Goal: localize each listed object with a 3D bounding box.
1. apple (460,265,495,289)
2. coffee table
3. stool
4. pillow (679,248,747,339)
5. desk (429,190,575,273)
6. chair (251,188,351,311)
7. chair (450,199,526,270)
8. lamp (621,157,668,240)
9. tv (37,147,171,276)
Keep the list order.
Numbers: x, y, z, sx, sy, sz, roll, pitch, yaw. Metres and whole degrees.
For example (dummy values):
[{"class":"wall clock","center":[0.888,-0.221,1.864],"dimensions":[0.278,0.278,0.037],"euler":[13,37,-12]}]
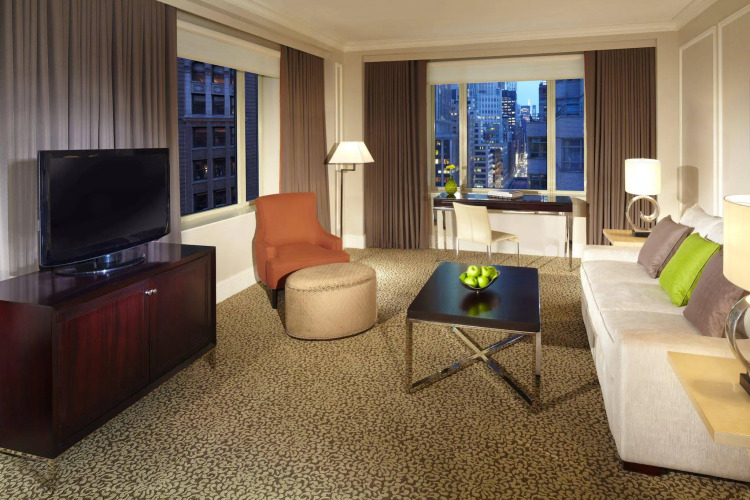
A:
[{"class":"apple","center":[0.845,0.205,4.233],"dimensions":[0.192,0.115,0.214],"euler":[-6,9,14]},{"class":"coffee table","center":[0.885,0.622,4.347],"dimensions":[0.959,0.671,1.341],"euler":[3,17,17]},{"class":"stool","center":[-0.395,0.465,5.078],"dimensions":[0.724,0.625,1.008],"euler":[3,12,17]},{"class":"pillow","center":[2.250,0.312,3.474],"dimensions":[0.146,0.501,0.525],"euler":[18,9,9]},{"class":"desk","center":[1.797,-0.321,7.378],"dimensions":[1.870,0.959,0.765],"euler":[3,14,20]},{"class":"chair","center":[-0.804,-0.053,5.647],"dimensions":[1.029,1.009,1.119],"euler":[2,14,1]},{"class":"chair","center":[1.479,-0.372,6.909],"dimensions":[0.862,1.244,0.852],"euler":[-10,14,-34]},{"class":"lamp","center":[2.982,-0.579,5.802],"dimensions":[0.361,0.853,0.377],"euler":[-1,7,7]},{"class":"tv","center":[-1.935,-0.298,3.795],"dimensions":[0.276,0.842,1.119],"euler":[7,12,22]}]
